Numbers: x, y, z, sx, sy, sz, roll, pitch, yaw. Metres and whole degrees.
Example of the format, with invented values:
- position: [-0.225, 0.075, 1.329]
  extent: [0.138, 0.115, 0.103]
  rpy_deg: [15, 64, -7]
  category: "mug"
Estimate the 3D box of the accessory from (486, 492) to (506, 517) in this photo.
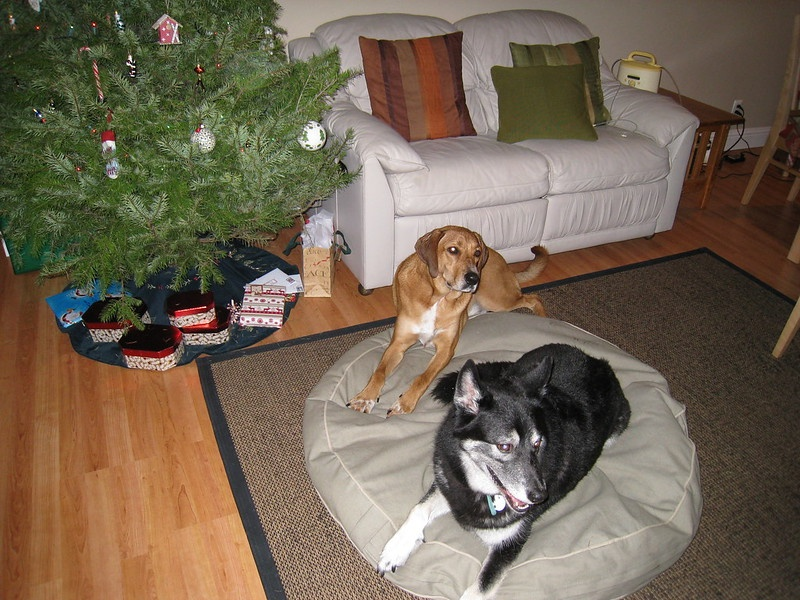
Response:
- position: [0.380, 0.815, 2.316]
  extent: [0.077, 0.077, 0.030]
  rpy_deg: [-28, -4, -3]
  category: "accessory"

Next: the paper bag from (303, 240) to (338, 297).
- position: [-0.565, -0.175, 3.851]
  extent: [0.231, 0.334, 0.258]
  rpy_deg: [0, 3, 36]
  category: "paper bag"

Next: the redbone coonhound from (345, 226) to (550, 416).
- position: [0.058, 0.004, 3.491]
  extent: [0.862, 1.056, 1.308]
  rpy_deg: [26, 40, 32]
  category: "redbone coonhound"

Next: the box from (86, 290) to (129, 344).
- position: [-1.714, 0.067, 3.370]
  extent: [0.294, 0.361, 0.130]
  rpy_deg: [23, 17, 35]
  category: "box"

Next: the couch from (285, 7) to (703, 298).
- position: [0.741, -1.251, 4.501]
  extent: [2.778, 1.648, 1.532]
  rpy_deg: [-11, 29, -18]
  category: "couch"

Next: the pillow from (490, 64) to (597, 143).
- position: [1.019, -1.428, 4.211]
  extent: [0.640, 0.625, 0.203]
  rpy_deg: [-4, -8, -8]
  category: "pillow"

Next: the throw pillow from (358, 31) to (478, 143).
- position: [0.103, -1.462, 4.014]
  extent: [0.761, 0.770, 0.231]
  rpy_deg: [-11, 5, -23]
  category: "throw pillow"
